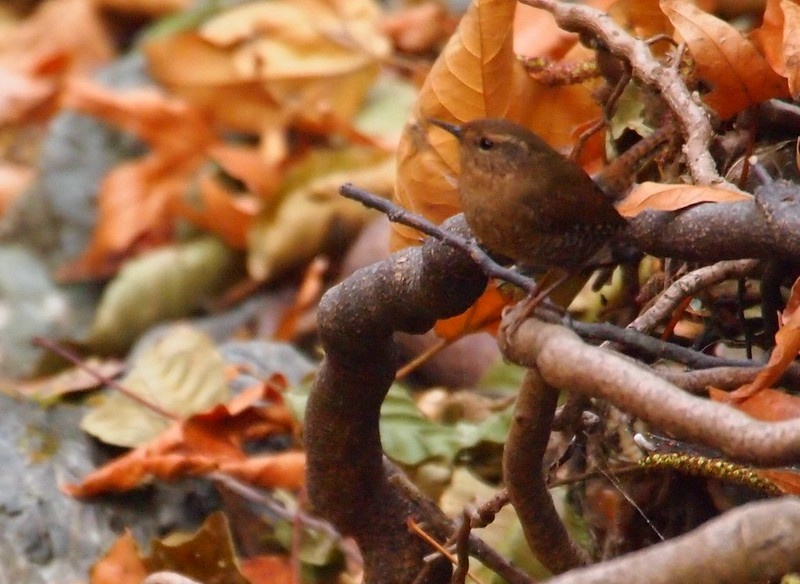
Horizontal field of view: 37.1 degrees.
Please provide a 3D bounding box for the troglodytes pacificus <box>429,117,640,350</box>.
[{"bbox_3d":[0.117,-0.080,1.025,0.189,0.101,0.149,-4,100,-17],"label":"troglodytes pacificus"}]
